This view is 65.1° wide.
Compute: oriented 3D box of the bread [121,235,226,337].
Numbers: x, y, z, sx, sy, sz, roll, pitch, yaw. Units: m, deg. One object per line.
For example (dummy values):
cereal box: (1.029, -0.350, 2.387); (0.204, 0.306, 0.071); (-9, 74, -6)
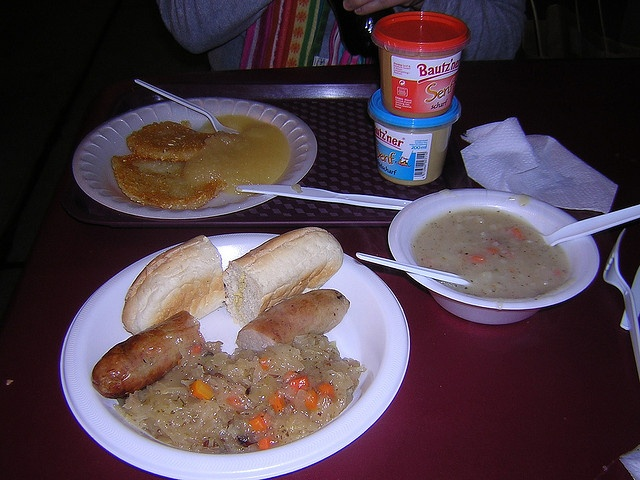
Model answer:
bread: (-0.508, 0.167, 1.780); (0.381, 0.223, 0.213); (-39, 46, -24)

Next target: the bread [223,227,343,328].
bread: (-0.108, 0.084, 1.827); (0.485, 0.270, 0.234); (-27, 12, -25)

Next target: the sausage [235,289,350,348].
sausage: (-0.078, 0.249, 1.672); (0.358, 0.128, 0.170); (-23, 32, -14)

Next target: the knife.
knife: (0.027, -0.165, 2.014); (0.715, 0.032, 0.083); (6, 44, 7)
